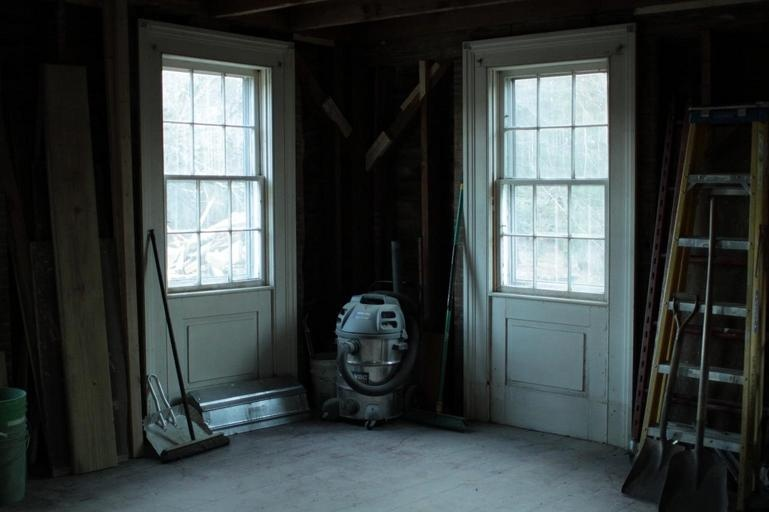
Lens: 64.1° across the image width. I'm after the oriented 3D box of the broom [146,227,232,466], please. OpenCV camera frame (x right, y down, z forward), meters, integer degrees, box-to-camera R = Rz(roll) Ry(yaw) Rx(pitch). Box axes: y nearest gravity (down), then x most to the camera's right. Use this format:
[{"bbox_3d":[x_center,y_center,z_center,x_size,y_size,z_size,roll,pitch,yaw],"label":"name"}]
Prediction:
[{"bbox_3d":[-1.753,0.695,5.156,0.694,1.824,0.588,6,10,41],"label":"broom"}]
